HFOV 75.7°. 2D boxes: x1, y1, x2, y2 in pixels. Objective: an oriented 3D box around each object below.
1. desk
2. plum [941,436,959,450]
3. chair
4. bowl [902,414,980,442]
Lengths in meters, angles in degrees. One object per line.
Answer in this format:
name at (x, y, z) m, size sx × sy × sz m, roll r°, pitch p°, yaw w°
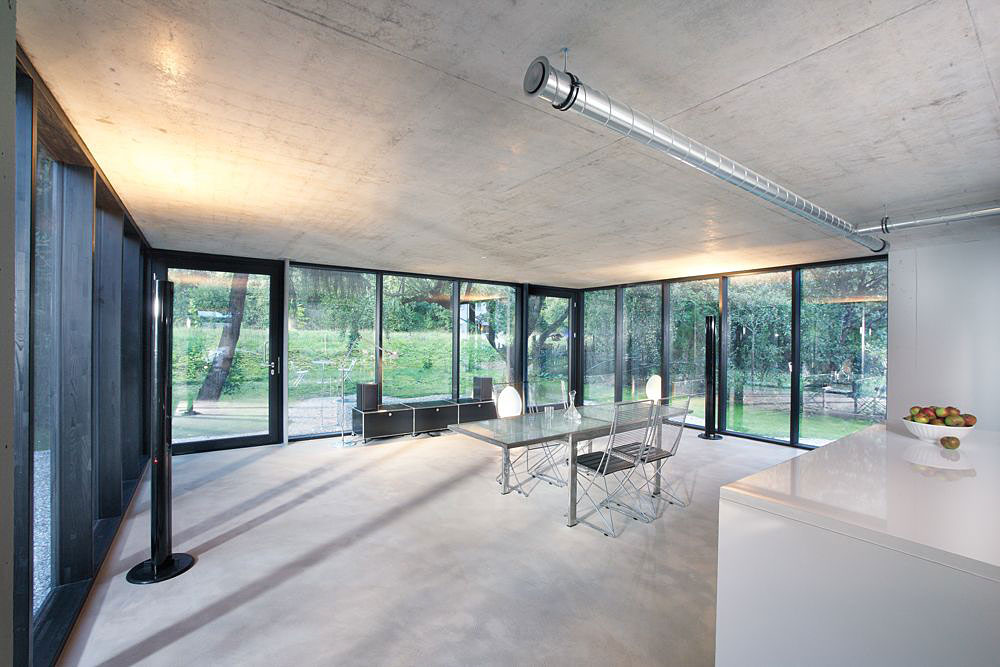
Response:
desk at (1.005, 1.160, 6.965) m, size 1.926 × 1.311 × 3.224 m, roll 3°, pitch 11°, yaw 16°
plum at (2.997, 0.729, 4.281) m, size 0.106 × 0.074 × 0.078 m, roll -1°, pitch -7°, yaw -8°
chair at (1.051, 1.092, 6.583) m, size 1.651 × 0.815 × 1.330 m, roll -1°, pitch 2°, yaw -36°
bowl at (2.993, 0.662, 4.403) m, size 0.270 × 0.083 × 0.270 m, roll 0°, pitch -1°, yaw 0°
